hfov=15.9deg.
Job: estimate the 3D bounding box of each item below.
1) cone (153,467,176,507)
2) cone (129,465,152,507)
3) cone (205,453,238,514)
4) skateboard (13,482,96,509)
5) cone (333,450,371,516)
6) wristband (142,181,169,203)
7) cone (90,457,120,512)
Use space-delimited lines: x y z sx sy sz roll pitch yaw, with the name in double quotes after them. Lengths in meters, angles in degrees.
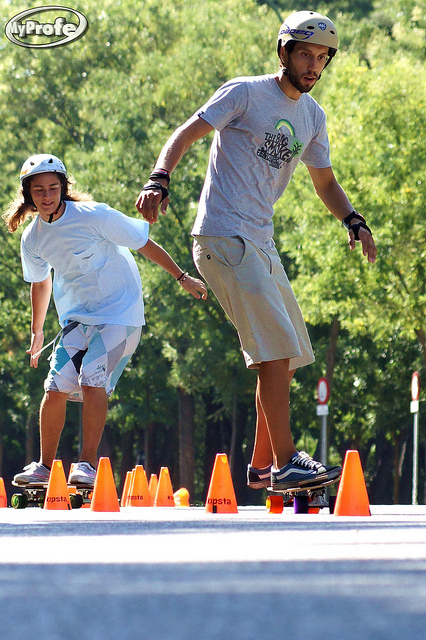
-0.308 1.076 10.056 0.155 0.280 0.175 -3 31 -9 "cone"
-0.448 1.018 9.503 0.132 0.205 0.487 1 -1 -2 "cone"
0.041 0.813 7.282 0.149 0.360 0.167 3 -30 -5 "cone"
-0.794 0.875 7.607 0.360 0.122 0.603 1 -1 -11 "skateboard"
0.609 0.675 6.587 0.202 0.371 0.223 -1 4 9 "cone"
-0.225 -0.506 6.037 0.094 0.065 0.145 1 -1 -3 "wristband"
-0.512 0.822 7.314 0.145 0.334 0.154 3 -40 -10 "cone"
